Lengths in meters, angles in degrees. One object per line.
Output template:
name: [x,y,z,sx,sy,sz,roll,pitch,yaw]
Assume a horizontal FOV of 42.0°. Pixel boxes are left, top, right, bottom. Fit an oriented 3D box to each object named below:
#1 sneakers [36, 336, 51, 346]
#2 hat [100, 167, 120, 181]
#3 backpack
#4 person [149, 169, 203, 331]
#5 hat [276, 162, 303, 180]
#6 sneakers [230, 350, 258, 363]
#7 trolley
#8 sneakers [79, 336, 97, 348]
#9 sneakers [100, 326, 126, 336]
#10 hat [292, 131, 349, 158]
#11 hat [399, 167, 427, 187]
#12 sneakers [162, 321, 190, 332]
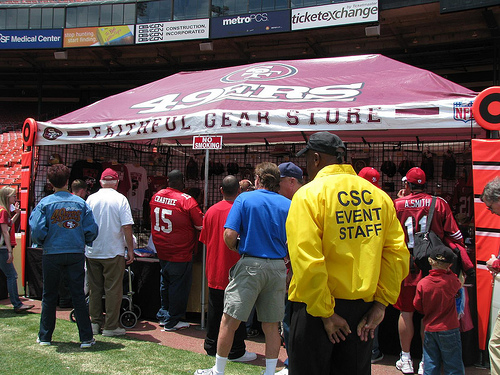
sneakers: [-3.286,2.449,10.386,0.242,0.100,0.094,7,-7,20]
hat: [-2.412,-0.240,11.259,0.235,0.131,0.324,0,5,0]
backpack: [2.853,0.953,9.982,0.425,0.485,0.265,-36,-62,23]
person: [-1.313,1.088,11.373,0.912,2.789,0.482,2,-5,-6]
hat: [0.609,-0.264,9.997,0.349,0.180,0.237,9,13,16]
sneakers: [-0.091,2.672,10.356,0.426,0.153,0.149,-2,-1,-15]
trolley: [-2.538,1.882,11.600,1.124,1.008,0.670,8,-3,-9]
sneakers: [-2.605,2.475,10.434,0.103,0.113,0.282,3,2,25]
sneakers: [-2.311,2.422,11.019,0.371,0.157,0.152,0,3,-32]
hat: [0.944,-0.588,8.552,0.670,0.310,0.459,6,11,33]
hat: [2.675,-0.183,10.515,0.265,0.197,0.361,5,10,11]
sneakers: [-1.285,2.388,11.414,0.471,0.185,0.164,-2,3,-30]
